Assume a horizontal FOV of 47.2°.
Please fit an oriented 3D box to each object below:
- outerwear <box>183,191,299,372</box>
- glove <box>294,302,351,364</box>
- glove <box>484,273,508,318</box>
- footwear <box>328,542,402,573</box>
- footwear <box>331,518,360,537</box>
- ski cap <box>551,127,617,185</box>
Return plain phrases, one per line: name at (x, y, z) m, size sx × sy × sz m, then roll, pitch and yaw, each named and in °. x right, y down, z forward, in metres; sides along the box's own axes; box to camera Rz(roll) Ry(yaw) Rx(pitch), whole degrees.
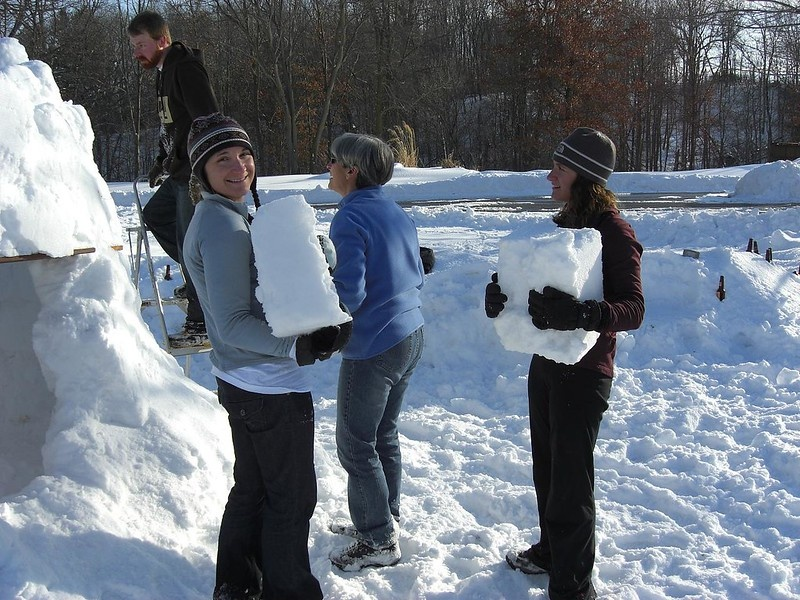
outerwear at (-1.159, -0.154, 6.493) m, size 0.714 × 1.200 × 1.191 m, roll -10°, pitch 16°, yaw -16°
glove at (-0.505, 0.294, 5.970) m, size 0.360 × 0.321 × 0.170 m, roll 0°, pitch 9°, yaw -3°
glove at (0.672, -0.011, 6.508) m, size 0.110 × 0.258 × 0.330 m, roll 8°, pitch -34°, yaw 5°
footwear at (-0.272, 1.865, 6.859) m, size 0.542 × 0.247 × 0.206 m, roll 1°, pitch 12°, yaw -8°
footwear at (-0.432, 1.760, 7.150) m, size 0.180 × 0.113 × 0.062 m, roll 13°, pitch 57°, yaw 30°
ski cap at (1.364, -1.069, 6.725) m, size 0.493 × 0.393 × 0.486 m, roll 22°, pitch 8°, yaw 15°
